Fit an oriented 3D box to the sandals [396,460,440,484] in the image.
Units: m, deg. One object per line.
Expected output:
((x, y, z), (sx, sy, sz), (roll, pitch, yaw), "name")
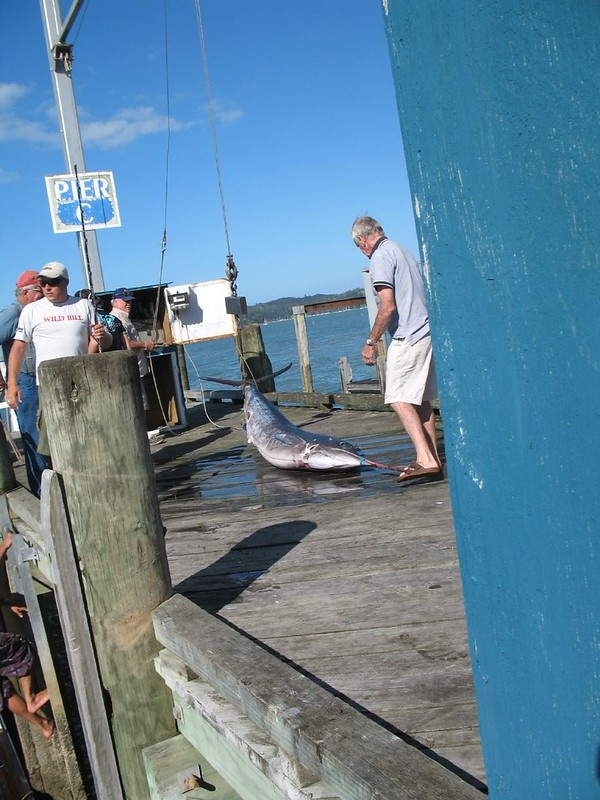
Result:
((0.623, 0.388, 4.382), (0.290, 0.098, 0.091), (-5, -4, 1), "sandals")

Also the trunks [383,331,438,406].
((0.582, -0.193, 4.410), (0.241, 0.373, 0.324), (1, -2, 17), "trunks")

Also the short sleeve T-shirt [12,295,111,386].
((-1.444, -0.368, 5.005), (0.554, 0.500, 0.297), (-8, 13, -35), "short sleeve T-shirt")
